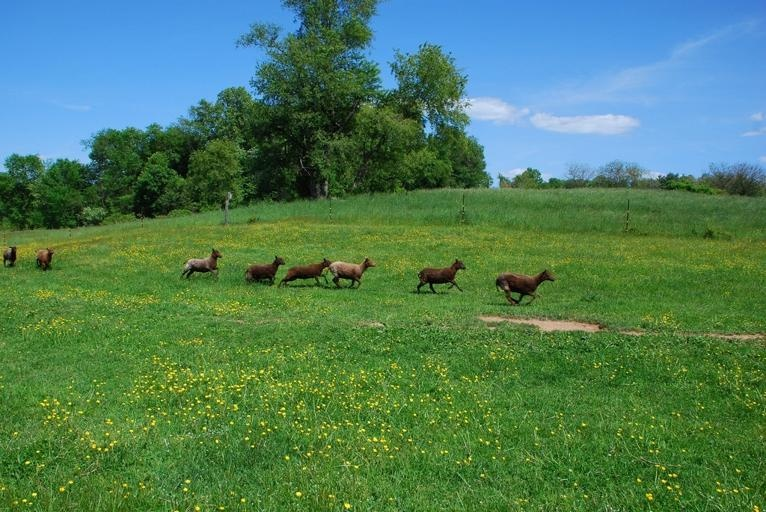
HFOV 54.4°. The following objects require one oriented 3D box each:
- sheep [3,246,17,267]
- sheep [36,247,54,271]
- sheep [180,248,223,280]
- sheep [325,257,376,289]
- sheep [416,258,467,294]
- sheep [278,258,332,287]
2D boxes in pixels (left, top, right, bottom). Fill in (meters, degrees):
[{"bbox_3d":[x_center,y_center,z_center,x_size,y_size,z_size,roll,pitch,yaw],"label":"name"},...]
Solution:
[{"bbox_3d":[-22.484,0.002,44.767,0.615,1.115,1.165,-4,9,-31],"label":"sheep"},{"bbox_3d":[-19.735,0.190,43.449,0.841,1.143,1.659,-2,9,-25],"label":"sheep"},{"bbox_3d":[-10.264,0.433,41.919,2.013,1.505,1.194,0,8,-8],"label":"sheep"},{"bbox_3d":[-1.713,0.913,41.363,2.043,1.532,2.225,5,9,26],"label":"sheep"},{"bbox_3d":[3.044,0.967,40.552,2.423,1.791,2.360,2,8,2],"label":"sheep"},{"bbox_3d":[-4.282,0.906,41.142,2.692,1.421,0.948,0,8,-9],"label":"sheep"}]
